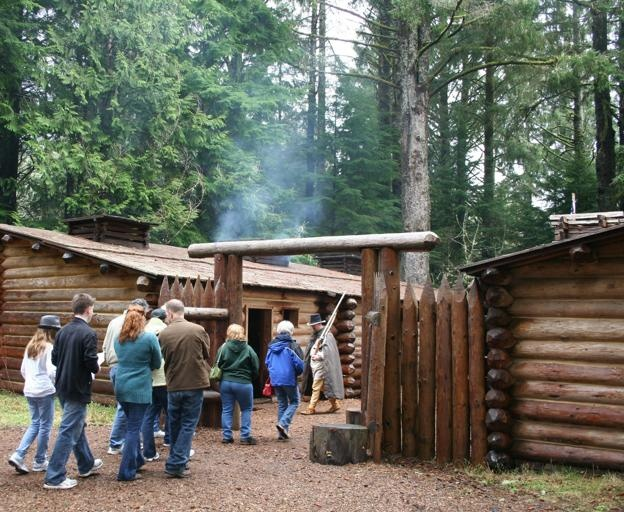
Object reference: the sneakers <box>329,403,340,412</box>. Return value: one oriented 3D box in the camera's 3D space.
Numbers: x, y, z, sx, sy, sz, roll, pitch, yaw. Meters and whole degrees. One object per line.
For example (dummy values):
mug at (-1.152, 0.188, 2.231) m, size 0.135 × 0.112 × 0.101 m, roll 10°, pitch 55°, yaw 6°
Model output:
sneakers at (0.493, 3.444, 18.733) m, size 0.109 × 0.223 × 0.323 m, roll -19°, pitch -2°, yaw -39°

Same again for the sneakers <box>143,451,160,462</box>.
sneakers at (-2.707, 3.383, 13.925) m, size 0.094 × 0.116 × 0.262 m, roll 6°, pitch 6°, yaw 20°

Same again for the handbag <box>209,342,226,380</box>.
handbag at (-1.738, 1.976, 15.030) m, size 0.260 × 0.702 × 0.368 m, roll -2°, pitch 13°, yaw -7°

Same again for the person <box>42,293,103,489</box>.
person at (-3.771, 2.134, 12.804) m, size 1.089 × 2.900 × 0.713 m, roll -10°, pitch 17°, yaw -37°

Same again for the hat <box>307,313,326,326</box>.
hat at (0.061, 1.526, 19.419) m, size 0.482 × 0.222 × 0.552 m, roll -1°, pitch 1°, yaw 6°

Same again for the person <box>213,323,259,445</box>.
person at (-1.398, 2.386, 15.066) m, size 0.785 × 2.200 × 0.467 m, roll -2°, pitch 13°, yaw -8°

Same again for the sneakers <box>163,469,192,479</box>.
sneakers at (-2.146, 3.493, 13.222) m, size 0.340 × 0.171 × 0.160 m, roll -1°, pitch -1°, yaw -24°

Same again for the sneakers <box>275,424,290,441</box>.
sneakers at (-0.595, 3.321, 15.670) m, size 0.152 × 0.178 × 0.427 m, roll -10°, pitch -46°, yaw 19°

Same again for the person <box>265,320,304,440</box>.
person at (-0.528, 2.478, 15.845) m, size 0.689 × 2.372 × 1.095 m, roll -1°, pitch 13°, yaw -2°

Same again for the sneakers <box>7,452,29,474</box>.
sneakers at (-4.657, 3.297, 13.175) m, size 0.178 × 0.498 × 0.222 m, roll -31°, pitch 46°, yaw -13°

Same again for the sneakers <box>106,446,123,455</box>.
sneakers at (-3.409, 3.335, 14.119) m, size 0.299 × 0.133 × 0.103 m, roll -3°, pitch -4°, yaw 18°

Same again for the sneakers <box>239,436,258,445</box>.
sneakers at (-1.193, 3.422, 15.287) m, size 0.314 × 0.149 × 0.121 m, roll 1°, pitch -3°, yaw -17°

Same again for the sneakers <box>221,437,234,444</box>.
sneakers at (-1.552, 3.402, 15.217) m, size 0.079 × 0.097 × 0.221 m, roll -5°, pitch -15°, yaw 28°
